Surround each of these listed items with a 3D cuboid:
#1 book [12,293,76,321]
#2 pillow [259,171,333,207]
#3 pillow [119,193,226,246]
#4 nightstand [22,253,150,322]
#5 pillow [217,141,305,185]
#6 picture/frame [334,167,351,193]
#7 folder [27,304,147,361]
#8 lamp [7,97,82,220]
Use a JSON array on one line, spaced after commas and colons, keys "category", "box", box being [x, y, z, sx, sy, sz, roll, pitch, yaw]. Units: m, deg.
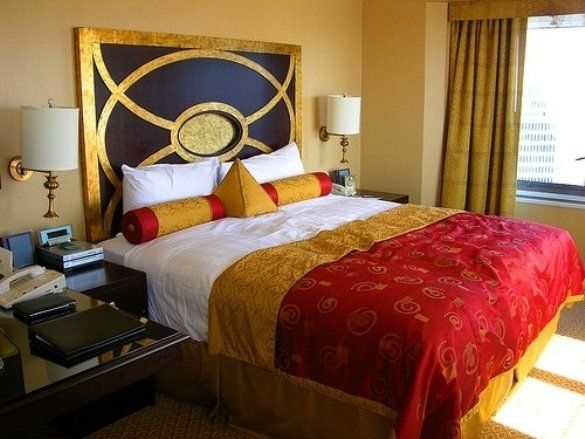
[{"category": "book", "box": [-1.062, 0.377, 1.824, 0.137, 0.036, 0.145, 12, 17, 37]}, {"category": "pillow", "box": [0.036, -0.278, 4.016, 0.851, 0.260, 0.247, -9, -21, -48]}, {"category": "pillow", "box": [-0.826, -0.054, 3.234, 0.283, 0.297, 0.911, 9, 18, 38]}, {"category": "nightstand", "box": [-1.174, 0.286, 2.496, 0.455, 0.473, 0.333, 13, 32, 22]}, {"category": "pillow", "box": [-0.321, -0.505, 3.897, 0.125, 0.267, 0.436, -27, -5, 41]}, {"category": "picture/frame", "box": [0.554, -0.427, 4.755, 0.103, 0.354, 0.247, -8, 9, 32]}, {"category": "folder", "box": [-0.760, 0.414, 1.576, 0.204, 0.063, 0.226, 4, 14, 31]}, {"category": "lamp", "box": [-1.561, -0.380, 2.726, 0.338, 0.748, 0.445, -9, 16, -33]}]
